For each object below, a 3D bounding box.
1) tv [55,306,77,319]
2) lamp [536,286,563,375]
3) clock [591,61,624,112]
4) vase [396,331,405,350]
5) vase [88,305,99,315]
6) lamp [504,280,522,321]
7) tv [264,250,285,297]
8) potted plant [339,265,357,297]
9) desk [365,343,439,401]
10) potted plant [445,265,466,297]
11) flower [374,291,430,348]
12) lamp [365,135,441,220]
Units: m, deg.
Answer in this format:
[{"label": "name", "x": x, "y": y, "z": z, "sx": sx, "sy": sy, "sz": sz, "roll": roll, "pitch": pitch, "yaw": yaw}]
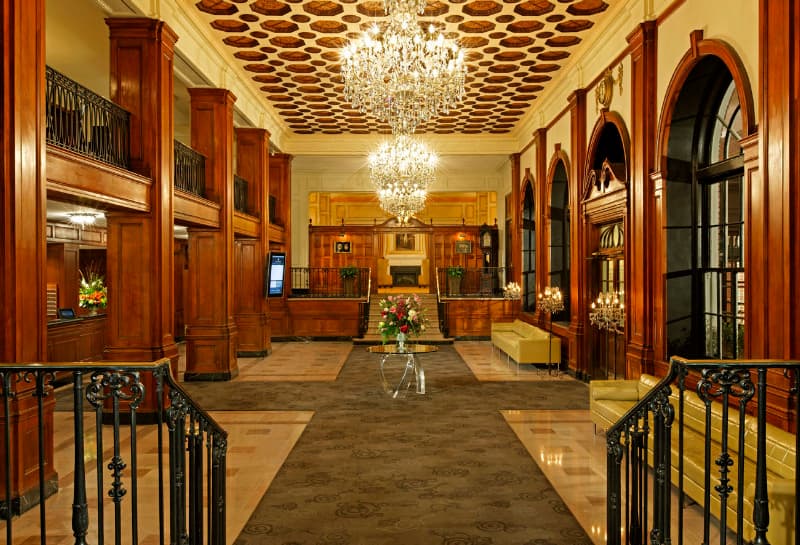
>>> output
[{"label": "tv", "x": -7.015, "y": 0.858, "z": 12.323, "sx": 0.442, "sy": 0.332, "sz": 0.242, "roll": -1, "pitch": -2, "yaw": -14}, {"label": "lamp", "x": 3.337, "y": 1.257, "z": 13.022, "sx": 0.523, "sy": 1.888, "sz": 0.534, "roll": -3, "pitch": -6, "yaw": 44}, {"label": "clock", "x": 3.698, "y": -3.275, "z": 10.617, "sx": 1.016, "sy": 0.682, "sz": 0.112, "roll": -31, "pitch": 35, "yaw": -28}, {"label": "vase", "x": 0.031, "y": 1.289, "z": 11.178, "sx": 0.179, "sy": 0.355, "sz": 0.458, "roll": 0, "pitch": 6, "yaw": 2}, {"label": "vase", "x": -6.941, "y": 0.853, "z": 13.272, "sx": 0.334, "sy": 0.266, "sz": 0.311, "roll": 1, "pitch": 1, "yaw": -28}, {"label": "lamp", "x": 3.206, "y": 0.572, "z": 16.866, "sx": 0.475, "sy": 0.737, "sz": 0.467, "roll": -14, "pitch": -24, "yaw": 30}, {"label": "tv", "x": -3.248, "y": 0.048, "z": 15.611, "sx": 0.127, "sy": 1.202, "sz": 0.934, "roll": 3, "pitch": -1, "yaw": -41}, {"label": "potted plant", "x": -1.790, "y": 0.273, "z": 20.053, "sx": 0.848, "sy": 1.087, "sz": 0.784, "roll": 0, "pitch": 0, "yaw": -7}, {"label": "desk", "x": 0.075, "y": 1.923, "z": 11.738, "sx": 1.288, "sy": 0.869, "sz": 1.256, "roll": -1, "pitch": 1, "yaw": -31}, {"label": "potted plant", "x": 1.894, "y": 0.267, "z": 20.677, "sx": 0.767, "sy": 1.270, "sz": 0.837, "roll": 1, "pitch": -1, "yaw": -1}, {"label": "flower", "x": 0.033, "y": 0.964, "z": 11.596, "sx": 0.939, "sy": 1.016, "sz": 1.039, "roll": -3, "pitch": -1, "yaw": -19}, {"label": "lamp", "x": 0.064, "y": -2.472, "z": 14.527, "sx": 1.660, "sy": 2.670, "sz": 1.714, "roll": -5, "pitch": -10, "yaw": 29}]
